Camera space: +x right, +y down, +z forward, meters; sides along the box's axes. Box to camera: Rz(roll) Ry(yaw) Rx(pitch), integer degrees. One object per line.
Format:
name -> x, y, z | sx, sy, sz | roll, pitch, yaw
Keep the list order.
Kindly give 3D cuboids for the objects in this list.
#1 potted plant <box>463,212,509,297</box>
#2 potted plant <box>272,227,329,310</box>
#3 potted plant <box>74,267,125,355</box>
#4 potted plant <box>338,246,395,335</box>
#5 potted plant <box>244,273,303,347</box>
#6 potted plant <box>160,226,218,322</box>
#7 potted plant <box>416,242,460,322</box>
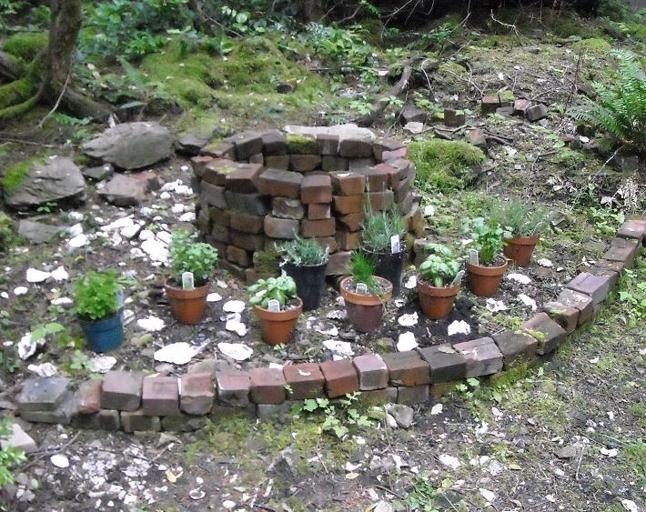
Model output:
potted plant -> 1.417, 0.020, 5.075 | 0.411, 0.679, 0.396 | 5, -4, -33
potted plant -> -0.272, 0.258, 4.917 | 0.584, 0.723, 0.503 | 2, -2, -9
potted plant -> -1.612, 0.443, 4.352 | 0.378, 0.565, 0.388 | 17, 24, 28
potted plant -> 0.208, 0.302, 4.704 | 0.505, 0.702, 0.500 | 5, 3, 42
potted plant -> -0.378, 0.424, 4.597 | 0.499, 0.607, 0.492 | -5, 13, -16
potted plant -> -1.082, 0.183, 4.693 | 0.517, 0.724, 0.402 | 21, 24, 23
potted plant -> 0.938, 0.248, 4.768 | 0.346, 0.526, 0.328 | 7, 23, 15
